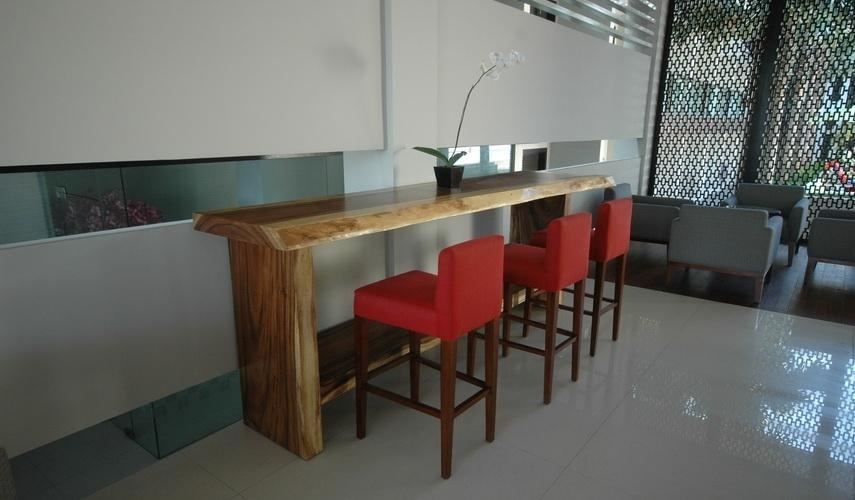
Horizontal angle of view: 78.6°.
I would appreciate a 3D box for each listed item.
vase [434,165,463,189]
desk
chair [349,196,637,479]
[{"bbox_3d":[0.184,-0.575,4.156,0.230,0.168,0.188,3,9,27],"label":"vase"},{"bbox_3d":[-0.277,0.054,4.626,0.943,1.356,3.218,6,16,30],"label":"desk"},{"bbox_3d":[0.451,0.695,3.852,0.592,0.993,1.824,13,20,37],"label":"chair"}]
